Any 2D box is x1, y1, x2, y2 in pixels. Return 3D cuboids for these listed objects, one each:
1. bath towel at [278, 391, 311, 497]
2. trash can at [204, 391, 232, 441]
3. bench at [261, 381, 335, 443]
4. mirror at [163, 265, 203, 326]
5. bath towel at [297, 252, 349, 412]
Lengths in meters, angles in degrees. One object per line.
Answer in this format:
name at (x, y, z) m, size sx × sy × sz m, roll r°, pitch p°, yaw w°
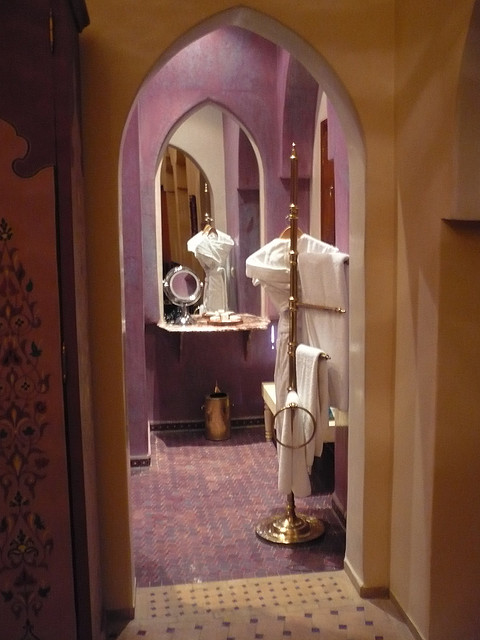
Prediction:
bath towel at (0.272, 0.671, 2.939) m, size 0.105 × 0.657 × 0.269 m, roll 0°, pitch 4°, yaw 9°
trash can at (-0.171, 0.732, 4.731) m, size 0.242 × 0.562 × 0.269 m, roll 0°, pitch 0°, yaw -5°
bench at (0.402, 0.688, 4.322) m, size 0.291 × 0.538 × 0.568 m, roll -1°, pitch 5°, yaw -3°
mirror at (-0.494, -0.196, 4.952) m, size 0.371 × 0.864 × 0.265 m, roll -1°, pitch -1°, yaw -23°
bath towel at (0.403, 0.049, 2.891) m, size 0.160 × 0.773 × 0.566 m, roll -1°, pitch 3°, yaw -13°
